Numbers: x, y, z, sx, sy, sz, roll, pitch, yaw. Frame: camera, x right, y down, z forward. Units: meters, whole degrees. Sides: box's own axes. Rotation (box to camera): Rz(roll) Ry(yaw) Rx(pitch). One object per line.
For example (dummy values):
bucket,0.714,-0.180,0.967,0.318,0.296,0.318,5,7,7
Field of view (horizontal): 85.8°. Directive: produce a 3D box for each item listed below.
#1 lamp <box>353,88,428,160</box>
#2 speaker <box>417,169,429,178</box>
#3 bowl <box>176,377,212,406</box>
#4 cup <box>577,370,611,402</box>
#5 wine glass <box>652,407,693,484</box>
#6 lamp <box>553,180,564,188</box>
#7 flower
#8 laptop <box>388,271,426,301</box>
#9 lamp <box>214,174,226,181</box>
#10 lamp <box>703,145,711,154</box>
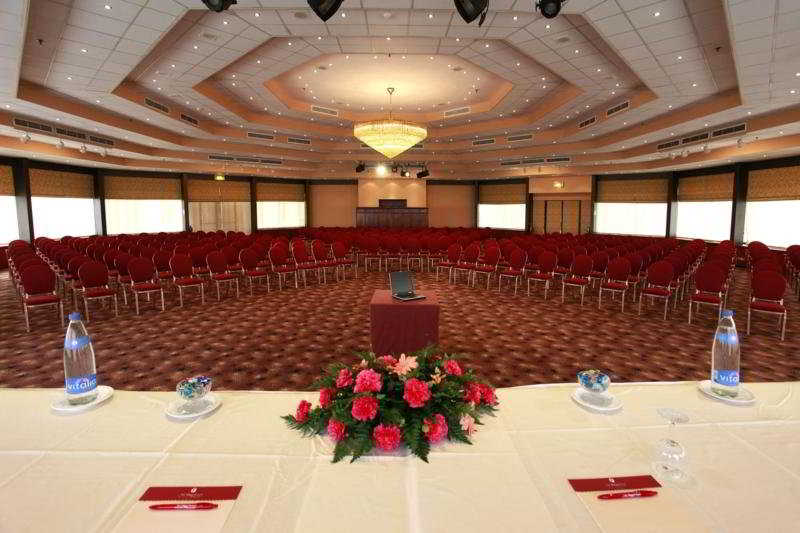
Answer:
lamp,-0.287,-4.132,12.143,2.158,1.540,1.955,1,4,-4
speaker,1.032,-4.433,20.294,0.436,0.411,0.623,5,5,-2
bowl,-1.178,0.716,2.503,0.161,0.079,0.181,2,-2,-8
cup,1.120,0.699,2.549,0.193,0.125,0.158,-2,-3,45
wine glass,1.341,0.876,2.150,0.149,0.048,0.470,-1,10,22
lamp,7.824,-4.134,21.453,0.389,0.306,0.092,3,0,32
flower,0.008,0.698,2.398,0.894,0.379,1.135,-21,-6,29
laptop,0.078,0.229,5.435,0.422,0.250,0.388,-1,2,-26
lamp,-8.525,-4.304,20.379,0.261,0.298,0.504,8,8,39
lamp,9.374,-3.636,13.191,0.347,0.277,0.088,-10,4,-16
